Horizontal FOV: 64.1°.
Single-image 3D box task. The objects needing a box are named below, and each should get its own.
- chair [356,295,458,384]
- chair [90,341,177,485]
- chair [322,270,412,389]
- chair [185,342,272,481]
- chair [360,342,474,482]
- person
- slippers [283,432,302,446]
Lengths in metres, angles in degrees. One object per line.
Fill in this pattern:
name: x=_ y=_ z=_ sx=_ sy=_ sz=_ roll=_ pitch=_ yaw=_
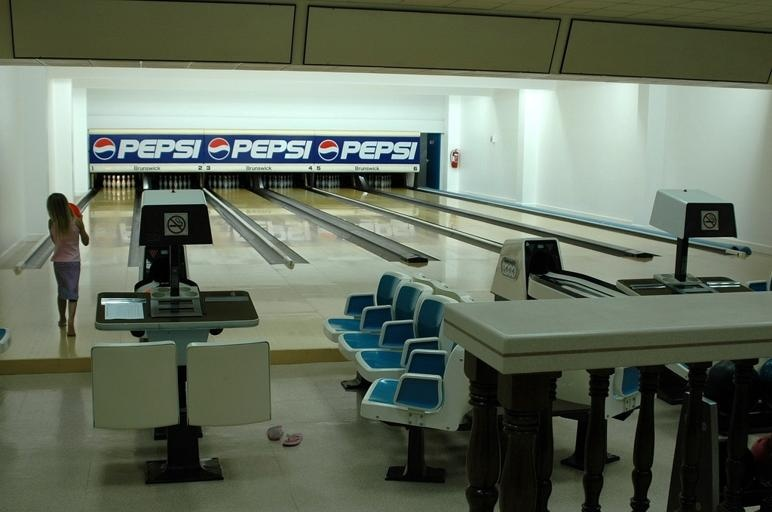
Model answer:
chair: x=0.126 y=0.522 z=4.211 sx=0.743 sy=0.513 sz=0.611 roll=2 pitch=10 yaw=4
chair: x=-1.383 y=0.717 z=3.398 sx=0.472 sy=0.464 sz=0.499 roll=0 pitch=2 yaw=-4
chair: x=-0.160 y=0.482 z=4.867 sx=0.748 sy=0.679 sz=0.686 roll=-1 pitch=8 yaw=9
chair: x=-0.962 y=0.821 z=3.747 sx=0.606 sy=0.635 sz=0.617 roll=-1 pitch=6 yaw=-35
chair: x=0.194 y=0.963 z=3.786 sx=0.793 sy=0.741 sz=0.772 roll=7 pitch=-13 yaw=-33
person: x=-2.871 y=0.077 z=5.605 sx=0.347 sy=1.075 sz=0.850 roll=-9 pitch=-2 yaw=-28
slippers: x=-0.612 y=1.195 z=4.028 sx=0.132 sy=0.070 sz=0.149 roll=-9 pitch=-1 yaw=-12
